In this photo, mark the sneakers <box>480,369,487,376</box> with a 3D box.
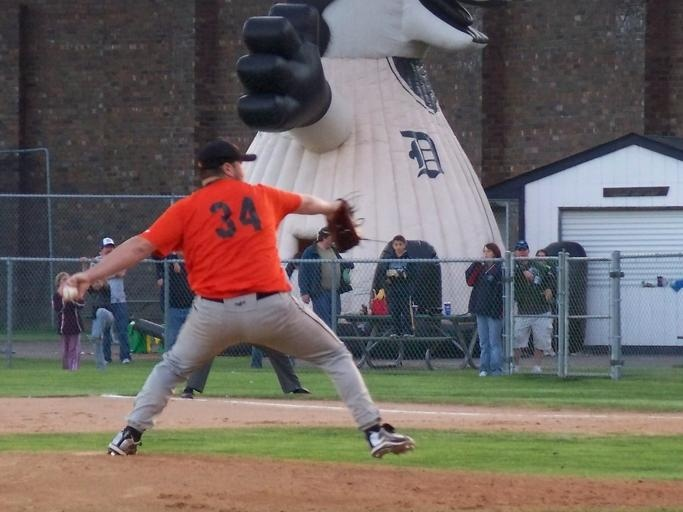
[{"bbox_3d":[2.716,2.218,30.901,0.122,0.097,0.163,8,25,11],"label":"sneakers"}]

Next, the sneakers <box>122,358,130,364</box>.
[{"bbox_3d":[-4.339,2.109,33.073,0.082,0.136,0.132,4,16,-20],"label":"sneakers"}]

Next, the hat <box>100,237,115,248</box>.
[{"bbox_3d":[-5.029,-0.313,35.166,0.277,0.256,0.460,-1,-10,-19],"label":"hat"}]

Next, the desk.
[{"bbox_3d":[1.460,1.683,32.523,2.481,0.927,0.843,-1,-5,-10],"label":"desk"}]

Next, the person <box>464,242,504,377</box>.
[{"bbox_3d":[2.784,1.170,30.997,0.672,2.200,0.607,1,-4,9],"label":"person"}]

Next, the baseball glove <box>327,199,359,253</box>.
[{"bbox_3d":[0.047,-0.489,24.973,0.451,0.776,0.299,-3,7,14],"label":"baseball glove"}]

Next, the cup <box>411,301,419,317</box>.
[{"bbox_3d":[1.473,1.008,31.930,0.218,0.234,0.197,3,2,10],"label":"cup"}]

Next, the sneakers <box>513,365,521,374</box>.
[{"bbox_3d":[3.378,2.142,31.151,0.089,0.122,0.300,1,4,7],"label":"sneakers"}]

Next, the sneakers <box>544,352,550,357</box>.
[{"bbox_3d":[4.423,2.073,34.670,0.105,0.115,0.081,3,4,-9],"label":"sneakers"}]
